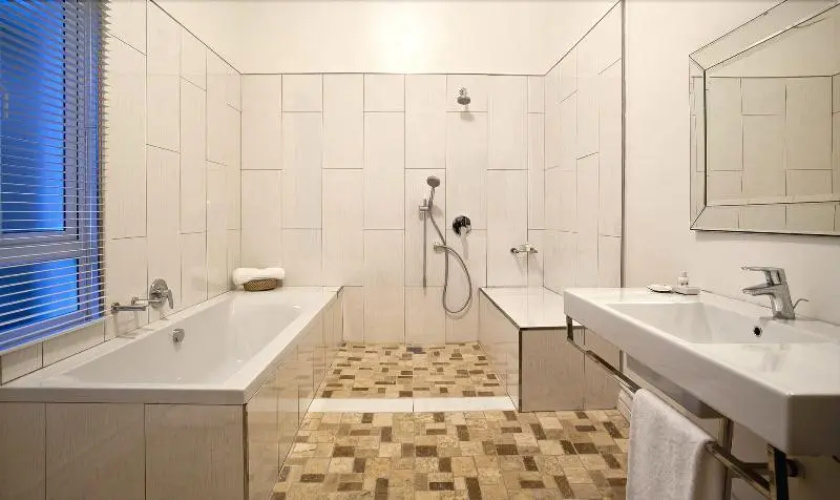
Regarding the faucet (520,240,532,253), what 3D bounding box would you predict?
[{"bbox_3d":[1.014,-0.028,5.222,0.113,0.060,0.158,1,3,13],"label":"faucet"}]
